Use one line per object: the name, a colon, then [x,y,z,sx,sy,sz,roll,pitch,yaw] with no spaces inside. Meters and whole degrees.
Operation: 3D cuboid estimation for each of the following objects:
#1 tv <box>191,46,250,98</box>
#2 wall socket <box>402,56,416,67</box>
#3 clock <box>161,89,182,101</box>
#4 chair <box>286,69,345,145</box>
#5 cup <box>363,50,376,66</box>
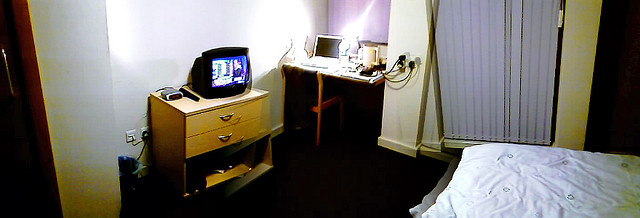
tv: [-1.632,-0.672,6.082,1.143,0.762,1.054,-12,22,-33]
wall socket: [1.633,-0.880,6.329,0.204,0.175,0.060,3,23,8]
clock: [-2.522,-0.233,5.791,0.253,0.159,0.206,15,25,37]
chair: [-0.120,-0.055,6.699,1.099,1.466,0.501,-1,22,-4]
cup: [0.977,-1.013,6.819,0.251,0.304,0.138,2,22,5]
